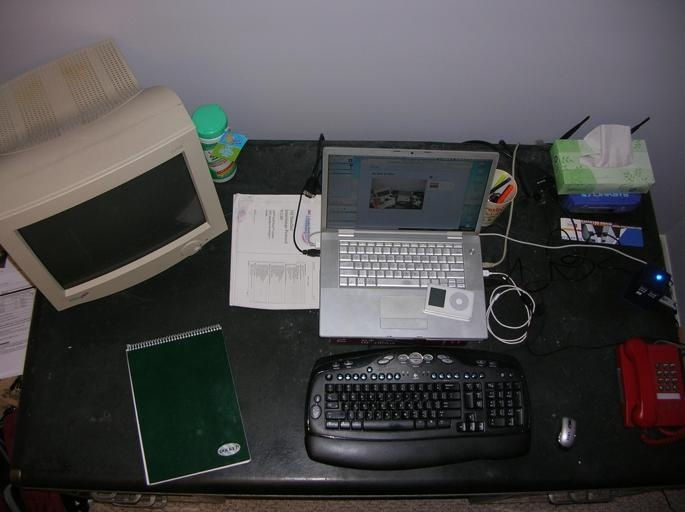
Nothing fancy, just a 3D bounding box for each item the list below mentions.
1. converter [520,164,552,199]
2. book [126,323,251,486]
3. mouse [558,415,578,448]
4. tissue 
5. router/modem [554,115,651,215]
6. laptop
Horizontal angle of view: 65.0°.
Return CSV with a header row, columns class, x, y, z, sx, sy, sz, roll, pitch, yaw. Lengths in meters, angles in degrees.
class,x,y,z,sx,sy,sz,roll,pitch,yaw
converter,0.623,-0.248,1.754,0.072,0.024,0.124,-8,65,0
book,-0.431,0.401,1.485,0.266,0.239,0.336,-12,34,-14
mouse,0.616,0.479,1.471,0.048,0.078,0.023,7,-6,3
tissue ,0.798,-0.287,1.666,0.285,0.227,0.107,1,-11,4
router/modem,0.804,-0.270,1.667,0.229,0.115,0.329,-1,62,8
laptop,0.174,0.006,1.562,0.550,0.524,0.339,-1,-12,-4
